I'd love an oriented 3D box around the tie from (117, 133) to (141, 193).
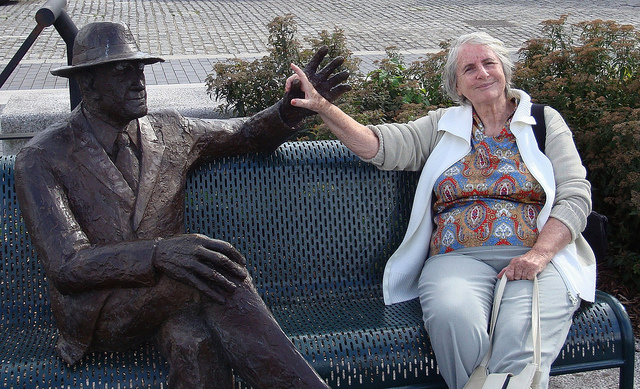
[{"bbox_3d":[-1.120,-0.182,4.058,0.175,0.529,0.065,-7,47,-16],"label":"tie"}]
